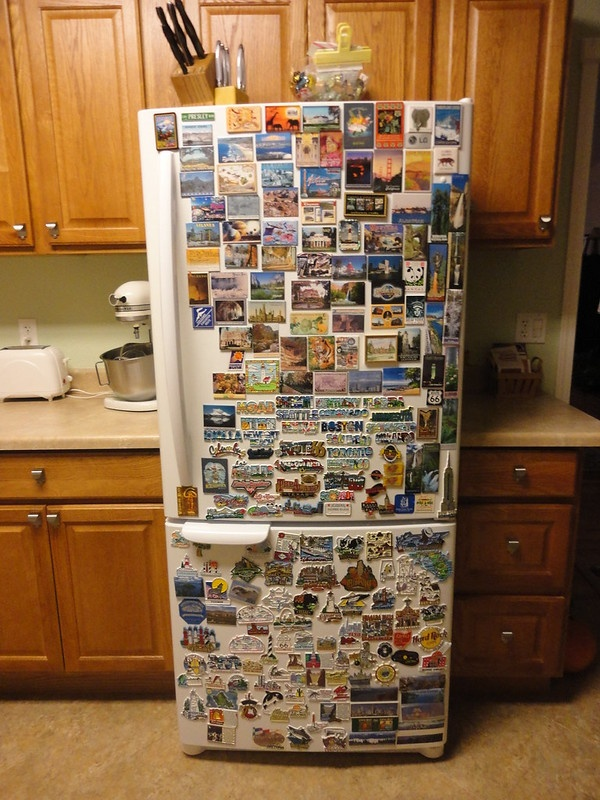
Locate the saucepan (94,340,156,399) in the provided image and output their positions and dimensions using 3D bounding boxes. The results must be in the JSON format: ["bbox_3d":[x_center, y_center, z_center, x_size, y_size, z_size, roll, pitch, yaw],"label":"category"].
[{"bbox_3d":[-0.529,-0.107,2.336,0.236,0.156,0.186,-2,11,7],"label":"saucepan"}]
